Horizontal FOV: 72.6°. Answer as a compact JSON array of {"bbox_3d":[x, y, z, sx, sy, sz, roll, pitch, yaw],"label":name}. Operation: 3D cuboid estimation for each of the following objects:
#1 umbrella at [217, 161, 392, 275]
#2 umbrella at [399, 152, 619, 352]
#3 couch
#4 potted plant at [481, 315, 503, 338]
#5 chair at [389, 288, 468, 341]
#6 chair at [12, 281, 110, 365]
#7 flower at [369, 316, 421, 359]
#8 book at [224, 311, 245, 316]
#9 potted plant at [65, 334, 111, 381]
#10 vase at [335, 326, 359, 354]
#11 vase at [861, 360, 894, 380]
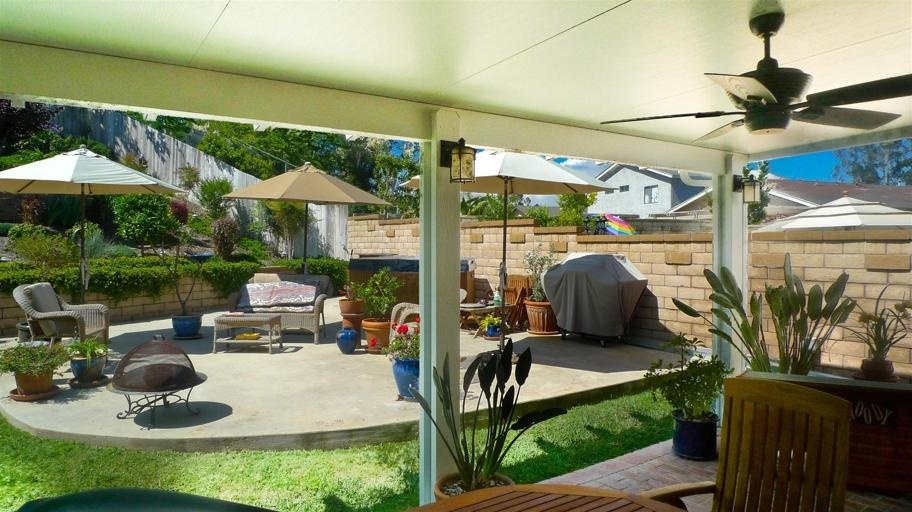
[{"bbox_3d":[-2.632,-0.878,11.355,2.609,1.747,2.602,1,-1,-45],"label":"umbrella"},{"bbox_3d":[0.859,-0.429,9.888,2.653,2.509,1.947,-5,3,-44],"label":"umbrella"},{"bbox_3d":[-3.178,0.785,11.711,1.865,1.036,1.311,1,-2,-3],"label":"couch"},{"bbox_3d":[0.624,1.305,11.624,0.426,0.377,0.418,5,-5,-44],"label":"potted plant"},{"bbox_3d":[-0.704,0.863,9.663,1.131,0.902,0.848,0,-3,17],"label":"chair"},{"bbox_3d":[-6.093,1.042,9.589,1.367,1.150,1.086,1,1,2],"label":"chair"},{"bbox_3d":[-0.836,1.155,8.643,0.928,0.454,0.689,-4,-6,36],"label":"flower"},{"bbox_3d":[-3.787,0.962,10.578,0.325,0.036,0.550,-3,2,-25],"label":"book"},{"bbox_3d":[-5.167,1.476,8.899,0.624,0.589,0.615,2,-3,-13],"label":"potted plant"},{"bbox_3d":[-1.814,1.432,10.641,0.428,0.453,0.411,-2,-8,6],"label":"vase"},{"bbox_3d":[5.123,1.368,7.576,0.269,0.177,0.265,1,-2,-44],"label":"vase"}]
